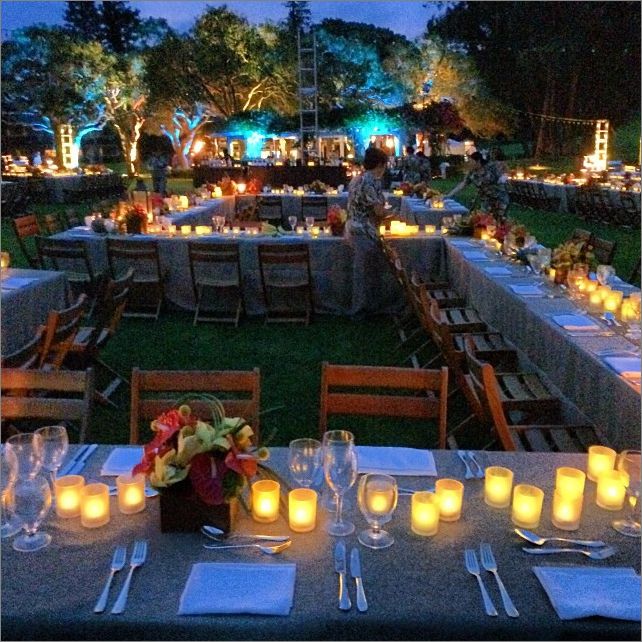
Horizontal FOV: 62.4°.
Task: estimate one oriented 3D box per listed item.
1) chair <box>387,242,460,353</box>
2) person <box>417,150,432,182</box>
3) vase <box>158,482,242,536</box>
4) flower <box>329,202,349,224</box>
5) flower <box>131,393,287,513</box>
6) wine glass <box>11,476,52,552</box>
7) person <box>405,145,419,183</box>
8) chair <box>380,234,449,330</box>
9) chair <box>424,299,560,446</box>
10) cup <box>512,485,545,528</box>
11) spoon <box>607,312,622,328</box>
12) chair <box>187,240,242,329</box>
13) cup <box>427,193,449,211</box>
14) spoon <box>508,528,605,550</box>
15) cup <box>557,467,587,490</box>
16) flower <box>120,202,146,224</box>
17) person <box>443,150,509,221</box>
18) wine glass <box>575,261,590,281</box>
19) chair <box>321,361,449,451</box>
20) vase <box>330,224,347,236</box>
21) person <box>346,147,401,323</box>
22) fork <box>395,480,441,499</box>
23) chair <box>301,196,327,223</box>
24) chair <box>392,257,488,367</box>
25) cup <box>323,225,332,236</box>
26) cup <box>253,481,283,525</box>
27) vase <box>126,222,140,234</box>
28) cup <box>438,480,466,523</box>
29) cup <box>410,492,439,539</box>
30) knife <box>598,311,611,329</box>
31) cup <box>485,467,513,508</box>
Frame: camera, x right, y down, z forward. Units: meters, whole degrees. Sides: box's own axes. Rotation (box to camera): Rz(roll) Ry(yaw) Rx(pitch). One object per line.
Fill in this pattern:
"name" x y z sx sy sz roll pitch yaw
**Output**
"chair" 1.158 -0.272 6.097 0.392 0.508 1.430 -8 34 -2
"person" 3.337 -5.116 17.416 0.398 1.067 1.028 2 10 10
"vase" -0.368 0.551 1.572 0.179 0.101 0.173 2 11 -1
"flower" 0.224 -1.544 7.555 0.252 0.263 0.672 1 9 0
"flower" -0.382 0.439 1.665 0.425 0.311 0.356 6 25 -14
"wine glass" -0.845 0.568 1.540 0.136 0.183 0.118 -4 15 -16
"person" 2.935 -5.022 17.139 0.504 1.071 0.759 2 10 10
"chair" 1.118 -0.491 6.533 0.459 0.763 1.175 0 26 5
"chair" 1.217 0.367 3.702 0.360 0.548 1.030 -5 26 -1
"cup" 0.605 0.556 1.619 0.110 0.118 0.110 1 9 0
"spoon" 2.009 -0.008 3.652 0.053 0.031 0.186 1 17 7
"chair" -1.403 -0.522 7.047 0.739 1.075 0.669 -1 10 -8
"cup" 2.181 -2.262 10.052 0.327 0.148 0.393 2 21 3
"spoon" 0.664 0.605 1.487 0.242 0.031 0.071 0 10 -3
"cup" 0.789 0.491 1.679 0.089 0.062 0.086 1 1 0
"flower" -2.773 -1.643 7.788 0.364 0.243 0.333 2 22 -5
"person" 2.653 -2.074 8.975 1.053 1.400 0.948 -12 16 13
"wine glass" 2.217 -0.421 4.501 0.153 0.151 0.152 0 8 4
"chair" 0.365 0.513 3.011 0.822 0.523 0.342 2 5 3
"vase" 0.223 -1.299 7.532 0.175 0.128 0.184 1 7 2
"person" 0.703 -1.133 6.989 0.622 2.189 0.620 -3 10 -21
"fork" 0.310 0.547 1.717 0.130 0.028 0.084 -1 14 2
"chair" -0.184 -2.703 12.538 0.660 0.601 0.536 1 9 2
"chair" 1.212 -0.081 5.463 0.398 0.482 1.268 -8 27 -2
"cup" 0.084 -1.325 7.725 0.138 0.237 0.133 1 12 0
"cup" -0.160 0.538 1.605 0.115 0.118 0.111 1 8 0
"vase" -2.704 -1.346 7.693 0.225 0.200 0.159 0 10 -4
"cup" 0.384 0.540 1.596 0.111 0.115 0.111 -1 7 0
"cup" 0.297 0.563 1.525 0.110 0.115 0.107 -1 9 0
"knife" 1.967 -0.003 3.685 0.051 0.035 0.202 1 19 12
"cup" 0.550 0.521 1.700 0.111 0.118 0.111 0 8 0
